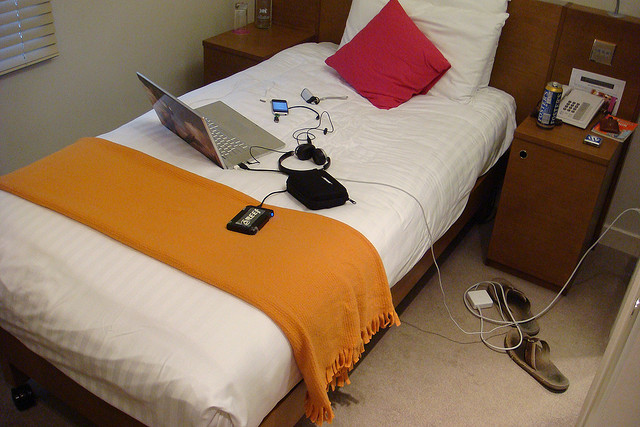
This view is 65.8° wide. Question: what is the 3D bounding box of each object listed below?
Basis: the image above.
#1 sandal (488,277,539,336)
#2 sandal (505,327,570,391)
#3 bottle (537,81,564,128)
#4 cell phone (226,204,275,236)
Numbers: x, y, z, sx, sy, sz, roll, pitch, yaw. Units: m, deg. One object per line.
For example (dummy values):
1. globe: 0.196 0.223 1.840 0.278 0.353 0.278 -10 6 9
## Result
1. sandal: 1.148 0.589 2.982 0.146 0.100 0.365 -16 56 -14
2. sandal: 1.177 0.783 2.701 0.196 0.146 0.415 -11 37 -24
3. bottle: 1.326 -0.628 2.849 0.121 0.266 0.125 -3 42 3
4. cell phone: -0.316 0.026 2.231 0.179 0.032 0.156 12 49 11
